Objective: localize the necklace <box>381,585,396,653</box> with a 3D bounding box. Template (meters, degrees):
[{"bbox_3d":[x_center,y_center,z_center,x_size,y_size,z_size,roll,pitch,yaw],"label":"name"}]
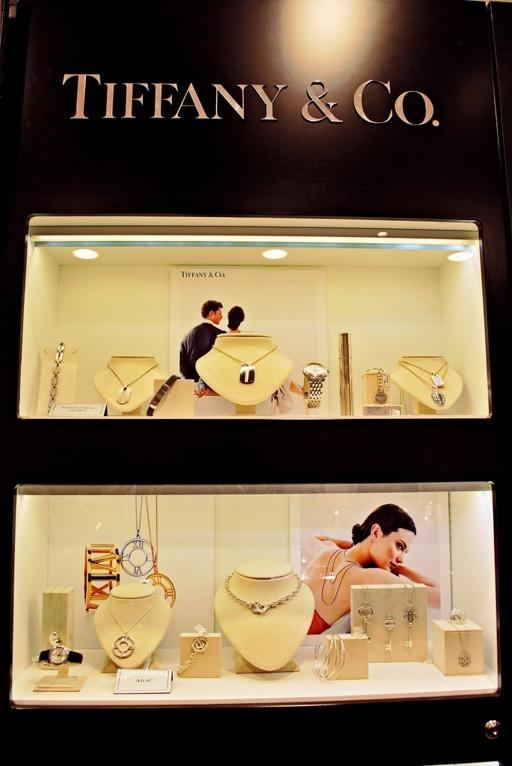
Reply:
[{"bbox_3d":[0.338,0.613,1.627,0.031,0.148,0.012,3,-11,-24],"label":"necklace"}]

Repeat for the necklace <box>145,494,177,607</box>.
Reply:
[{"bbox_3d":[-0.256,0.451,1.702,0.083,0.286,0.027,1,-10,-9],"label":"necklace"}]

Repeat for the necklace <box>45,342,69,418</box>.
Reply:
[{"bbox_3d":[-0.485,-0.011,1.557,0.019,0.191,0.009,10,-23,-1],"label":"necklace"}]

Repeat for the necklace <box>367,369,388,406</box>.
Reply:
[{"bbox_3d":[0.316,0.009,1.663,0.060,0.115,0.122,-3,-10,10],"label":"necklace"}]

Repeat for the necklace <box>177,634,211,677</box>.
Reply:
[{"bbox_3d":[-0.148,0.653,1.521,0.059,0.105,0.024,17,-21,11],"label":"necklace"}]

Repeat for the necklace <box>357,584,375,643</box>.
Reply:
[{"bbox_3d":[0.270,0.597,1.600,0.035,0.112,0.079,-5,-10,22],"label":"necklace"}]

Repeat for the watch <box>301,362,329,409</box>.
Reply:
[{"bbox_3d":[0.151,0.008,1.651,0.058,0.118,0.092,-1,-10,2],"label":"watch"}]
